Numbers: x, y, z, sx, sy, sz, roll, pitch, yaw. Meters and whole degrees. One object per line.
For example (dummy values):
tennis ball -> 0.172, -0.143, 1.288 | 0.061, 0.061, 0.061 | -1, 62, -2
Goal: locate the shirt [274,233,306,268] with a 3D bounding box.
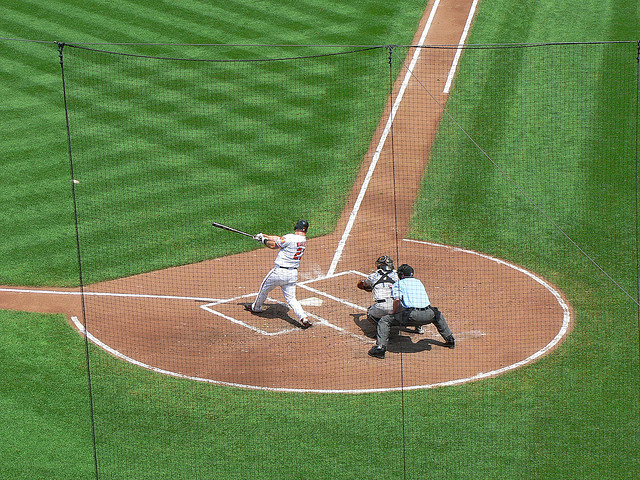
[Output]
shirt -> -0.677, 0.238, 25.840 | 1.062, 0.495, 0.717 | 4, -82, -14

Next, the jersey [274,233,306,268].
jersey -> -0.676, 0.237, 25.831 | 1.063, 0.498, 0.715 | 4, -82, -15

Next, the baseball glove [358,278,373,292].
baseball glove -> 1.020, 1.019, 25.921 | 0.311, 0.224, 0.304 | -7, -51, -3

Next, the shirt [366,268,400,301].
shirt -> 1.398, 0.985, 25.295 | 1.066, 0.532, 0.744 | -2, -89, 14

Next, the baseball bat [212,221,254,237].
baseball bat -> -2.236, -0.268, 28.886 | 1.085, 0.143, 0.102 | 16, -61, -8
